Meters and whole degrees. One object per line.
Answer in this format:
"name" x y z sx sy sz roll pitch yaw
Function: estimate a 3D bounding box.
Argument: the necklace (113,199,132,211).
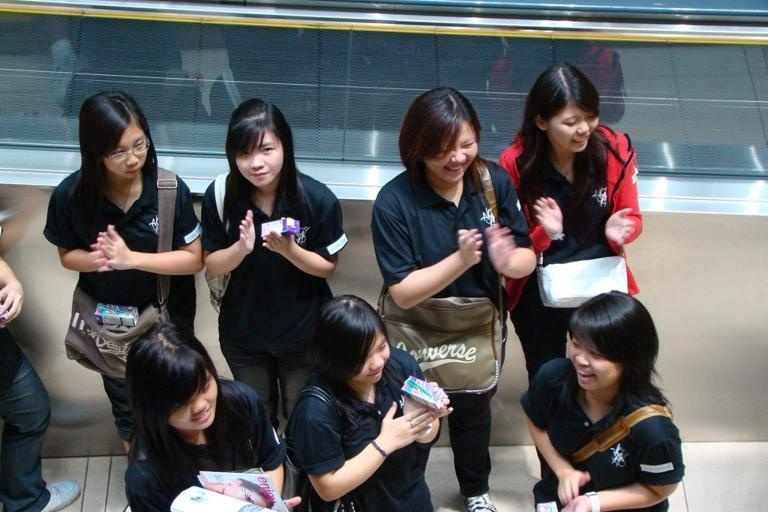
"necklace" -1.294 -0.254 2.694 0.065 0.056 0.018 -5 -1 -9

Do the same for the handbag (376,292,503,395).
"handbag" 0.282 0.373 2.731 0.625 0.575 0.333 2 18 2

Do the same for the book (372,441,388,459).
"book" -0.010 0.835 2.350 0.019 0.068 0.069 -45 25 -11

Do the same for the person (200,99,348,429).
"person" -0.591 0.332 2.900 0.780 2.093 0.684 2 26 3

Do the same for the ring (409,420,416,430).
"ring" 0.118 0.722 2.353 0.018 0.034 0.006 2 10 -5

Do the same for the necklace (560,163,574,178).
"necklace" 0.914 -0.425 2.731 0.073 0.068 0.053 13 23 6
